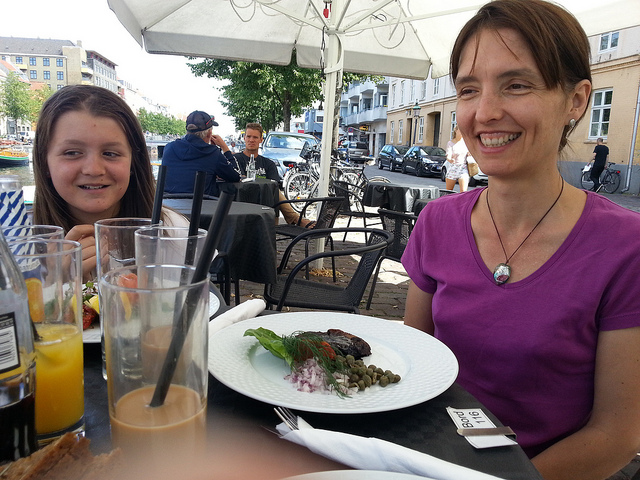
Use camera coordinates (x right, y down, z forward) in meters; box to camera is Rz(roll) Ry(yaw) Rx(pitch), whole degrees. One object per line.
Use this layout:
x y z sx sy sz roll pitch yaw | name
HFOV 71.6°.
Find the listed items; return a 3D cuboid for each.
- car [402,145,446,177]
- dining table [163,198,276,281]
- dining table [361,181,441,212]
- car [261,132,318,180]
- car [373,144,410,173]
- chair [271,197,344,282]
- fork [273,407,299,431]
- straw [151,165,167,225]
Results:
6.075 -4.488 25.447 1.501 1.197 2.696 -1 8 -14 | car
-0.833 0.162 4.061 1.139 0.557 1.214 11 -20 -27 | dining table
1.139 -0.671 7.350 1.094 0.437 1.160 5 9 -28 | dining table
-0.910 -2.768 13.626 2.337 1.184 1.265 0 25 9 | car
5.287 -5.632 30.774 1.732 1.690 3.539 0 7 -15 | car
-0.223 -0.016 5.550 0.837 1.167 0.888 10 9 28 | chair
-0.085 0.387 0.977 0.017 0.016 0.131 -2 0 -32 | fork
-0.450 -0.124 1.245 0.017 0.170 0.018 12 16 -4 | straw
